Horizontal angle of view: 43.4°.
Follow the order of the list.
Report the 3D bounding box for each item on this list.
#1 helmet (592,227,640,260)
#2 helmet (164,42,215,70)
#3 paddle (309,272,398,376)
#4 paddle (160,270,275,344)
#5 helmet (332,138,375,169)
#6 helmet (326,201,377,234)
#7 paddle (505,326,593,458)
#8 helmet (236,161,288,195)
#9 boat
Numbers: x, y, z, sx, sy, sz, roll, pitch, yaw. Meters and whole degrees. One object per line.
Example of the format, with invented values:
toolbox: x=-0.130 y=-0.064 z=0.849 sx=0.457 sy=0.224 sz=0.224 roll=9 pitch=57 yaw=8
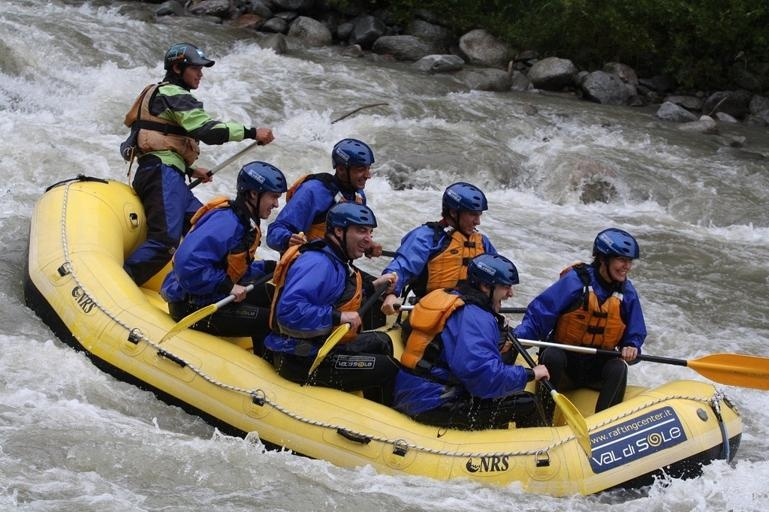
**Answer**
helmet: x=2.603 y=-0.114 z=10.966 sx=0.343 sy=0.261 sz=0.437 roll=8 pitch=14 yaw=-33
helmet: x=-2.373 y=-2.432 z=11.796 sx=0.708 sy=0.338 sz=0.456 roll=5 pitch=12 yaw=6
paddle: x=-0.392 y=0.820 z=10.854 sx=0.271 sy=0.996 sz=1.303 roll=20 pitch=16 yaw=19
paddle: x=-1.893 y=0.594 z=10.803 sx=1.832 sy=0.132 sz=0.210 roll=-24 pitch=50 yaw=-28
helmet: x=-0.397 y=-1.189 z=11.504 sx=0.429 sy=0.286 sz=0.322 roll=17 pitch=18 yaw=16
helmet: x=-0.362 y=-0.459 z=10.626 sx=0.420 sy=0.224 sz=0.316 roll=17 pitch=26 yaw=8
paddle: x=1.707 y=1.300 z=10.038 sx=0.240 sy=0.279 sz=2.554 roll=23 pitch=-18 yaw=26
helmet: x=-1.364 y=-0.896 z=10.949 sx=0.489 sy=0.301 sz=0.349 roll=17 pitch=19 yaw=3
boat: x=-0.514 y=1.449 z=10.857 sx=6.741 sy=1.305 sz=3.582 roll=19 pitch=20 yaw=9
